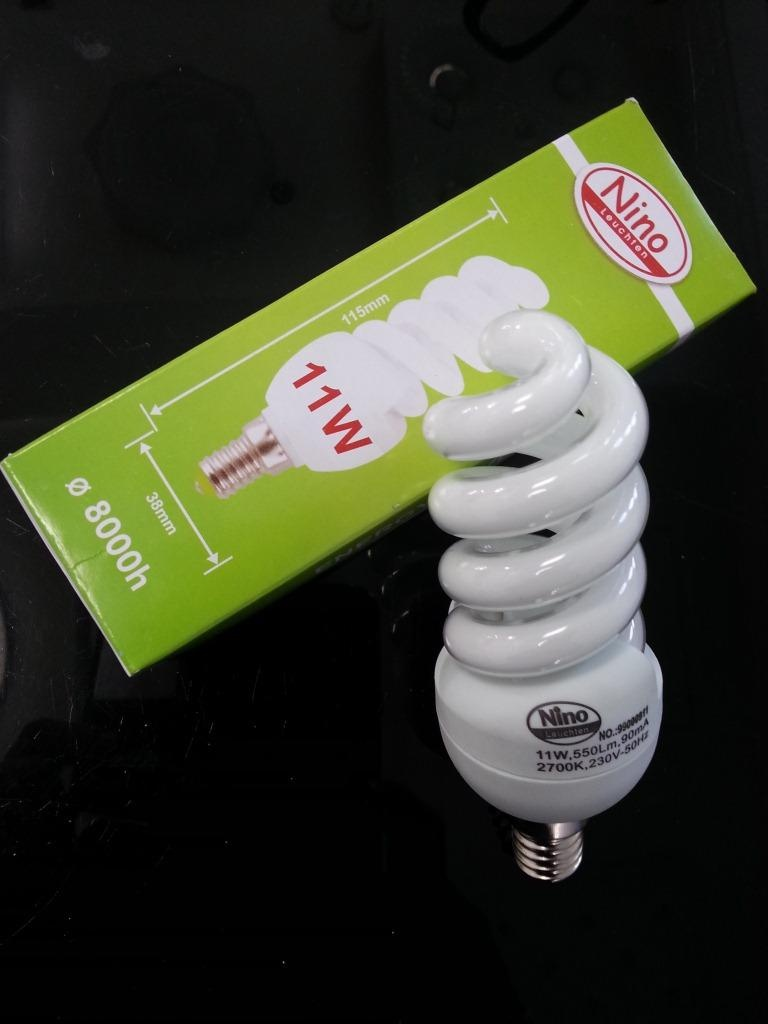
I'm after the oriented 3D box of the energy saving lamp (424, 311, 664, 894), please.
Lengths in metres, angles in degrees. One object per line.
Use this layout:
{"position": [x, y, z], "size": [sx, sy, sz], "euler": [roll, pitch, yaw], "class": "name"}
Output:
{"position": [0.102, 0.067, 0.620], "size": [0.142, 0.382, 0.146], "euler": [1, 20, 23], "class": "energy saving lamp"}
